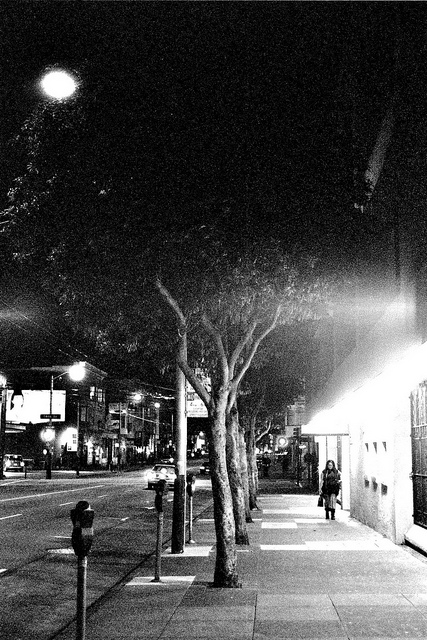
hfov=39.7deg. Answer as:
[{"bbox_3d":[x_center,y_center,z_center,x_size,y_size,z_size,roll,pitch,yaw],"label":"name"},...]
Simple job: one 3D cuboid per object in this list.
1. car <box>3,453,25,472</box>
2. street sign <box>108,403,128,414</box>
[{"bbox_3d":[-23.039,16.537,68.104,2.152,1.954,3.260,6,-15,-26],"label":"car"},{"bbox_3d":[-14.074,13.364,87.110,2.245,2.100,1.975,3,-4,6],"label":"street sign"}]
